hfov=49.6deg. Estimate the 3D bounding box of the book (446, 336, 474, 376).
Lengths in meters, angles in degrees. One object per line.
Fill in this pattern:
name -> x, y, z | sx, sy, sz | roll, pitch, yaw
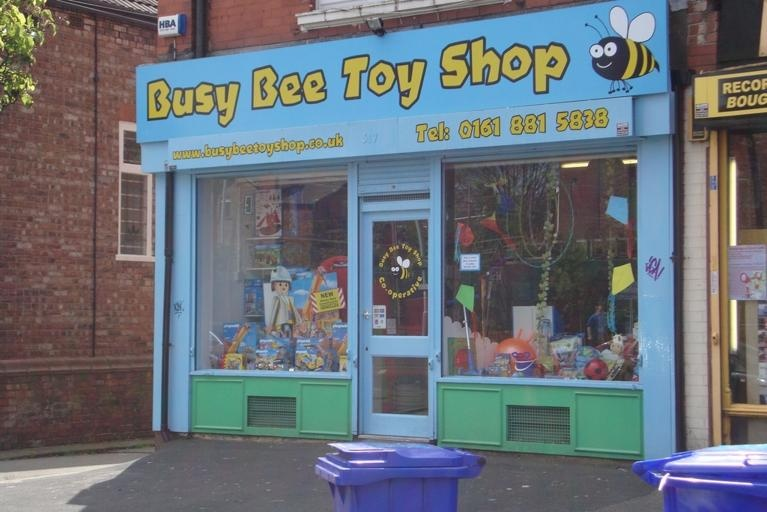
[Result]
book -> 1.108, 1.477, 11.996 | 0.526, 0.759, 0.075 | -1, -2, 12
